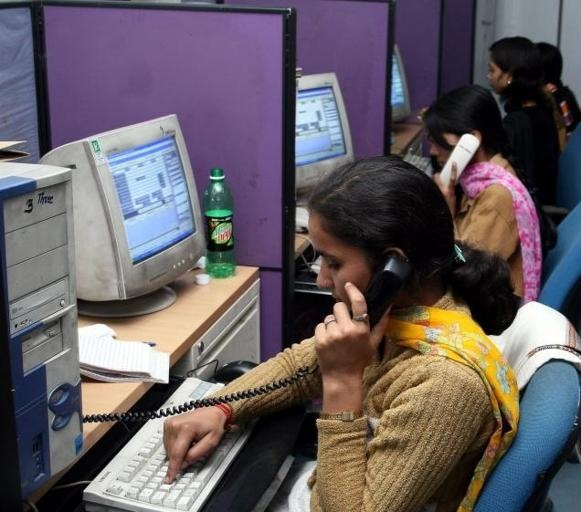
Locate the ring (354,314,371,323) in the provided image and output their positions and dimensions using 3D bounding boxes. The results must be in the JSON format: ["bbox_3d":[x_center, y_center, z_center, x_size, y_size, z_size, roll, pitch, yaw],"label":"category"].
[{"bbox_3d":[0.121,0.105,0.851,0.015,0.011,0.017,-6,10,1],"label":"ring"}]

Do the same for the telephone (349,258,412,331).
[{"bbox_3d":[0.165,0.068,0.860,0.078,0.138,0.055,-1,18,9],"label":"telephone"}]

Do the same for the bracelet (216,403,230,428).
[{"bbox_3d":[-0.138,0.330,1.050,0.020,0.042,0.029,-5,5,-12],"label":"bracelet"}]

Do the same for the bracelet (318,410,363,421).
[{"bbox_3d":[0.086,0.269,0.853,0.073,0.023,0.021,-2,19,9],"label":"bracelet"}]
